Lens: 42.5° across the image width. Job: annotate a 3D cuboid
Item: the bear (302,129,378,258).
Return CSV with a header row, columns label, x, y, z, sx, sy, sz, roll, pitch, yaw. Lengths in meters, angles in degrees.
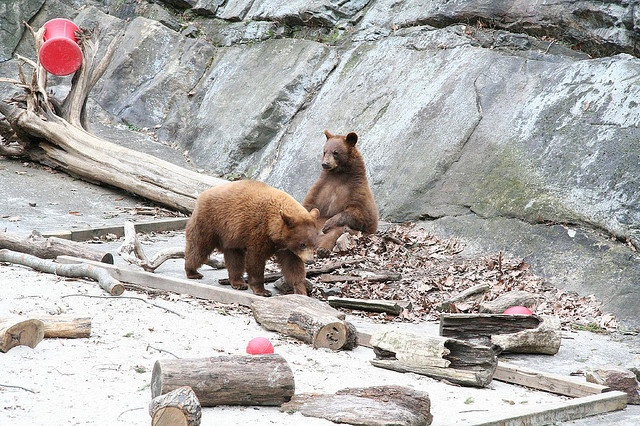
label,x,y,z,sx,sy,sz,roll,pitch,yaw
bear,0.401,-0.468,14.827,1.345,1.861,1.060,22,8,40
